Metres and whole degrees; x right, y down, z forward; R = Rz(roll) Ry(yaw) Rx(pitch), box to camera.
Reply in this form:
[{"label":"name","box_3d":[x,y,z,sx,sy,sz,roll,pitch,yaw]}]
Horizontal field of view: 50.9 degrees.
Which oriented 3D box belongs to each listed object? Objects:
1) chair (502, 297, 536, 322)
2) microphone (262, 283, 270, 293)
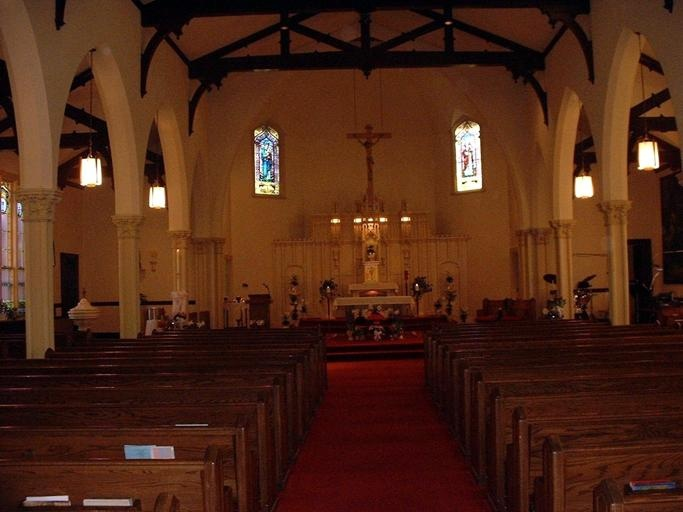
[{"label":"chair","box_3d":[4.514,1.368,18.430,0.621,0.606,0.593,-4,-17,24]},{"label":"microphone","box_3d":[-2.393,0.974,22.630,0.276,0.303,0.694,0,-3,-5]}]
